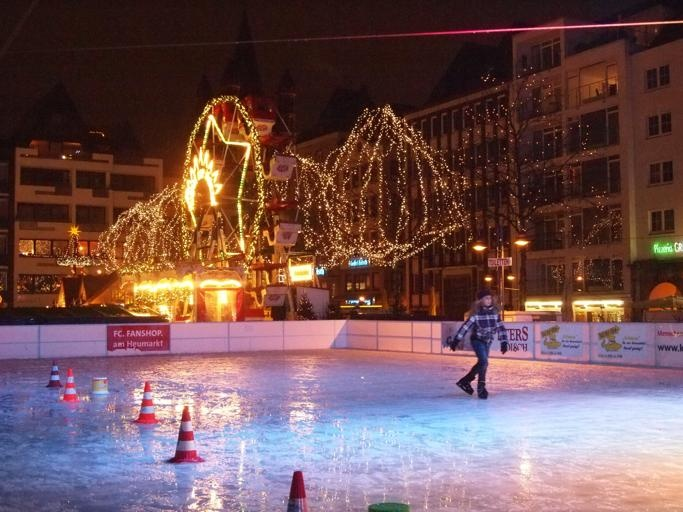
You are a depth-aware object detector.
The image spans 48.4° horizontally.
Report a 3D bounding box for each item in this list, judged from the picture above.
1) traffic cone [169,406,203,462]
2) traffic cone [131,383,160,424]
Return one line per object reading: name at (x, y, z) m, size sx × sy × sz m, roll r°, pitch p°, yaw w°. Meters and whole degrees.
traffic cone at (-2.519, 2.888, 12.306) m, size 0.522 × 0.866 × 0.725 m, roll 0°, pitch -7°, yaw -13°
traffic cone at (-3.944, 2.992, 15.414) m, size 0.460 × 0.824 × 0.707 m, roll 0°, pitch -7°, yaw -15°
